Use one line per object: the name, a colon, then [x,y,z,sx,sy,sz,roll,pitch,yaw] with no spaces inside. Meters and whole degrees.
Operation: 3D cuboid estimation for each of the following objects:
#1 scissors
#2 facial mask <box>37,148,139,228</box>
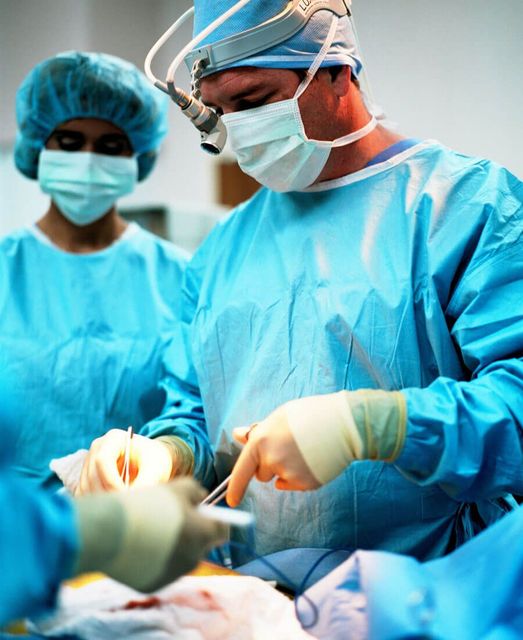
scissors: [-0.053,0.250,1.267,0.019,0.179,0.025,33,6,32]
facial mask: [-0.402,-0.335,1.706,0.163,0.122,0.192,3,27,-15]
